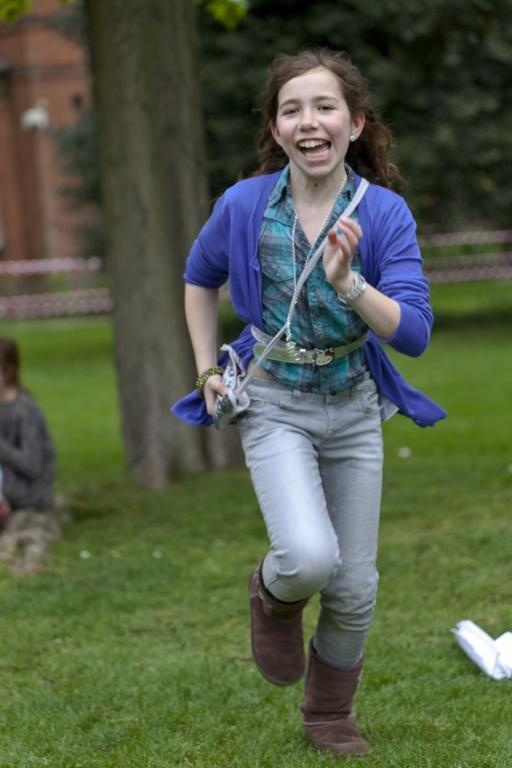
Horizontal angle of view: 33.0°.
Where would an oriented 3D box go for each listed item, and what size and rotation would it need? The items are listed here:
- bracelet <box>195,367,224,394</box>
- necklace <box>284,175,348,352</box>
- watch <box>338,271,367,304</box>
[{"bbox_3d":[-0.134,-0.004,2.244,0.066,0.066,0.026,1,36,-49],"label":"bracelet"},{"bbox_3d":[0.127,-0.309,1.995,0.144,0.357,0.043,16,-16,-2],"label":"necklace"},{"bbox_3d":[0.197,-0.196,1.789,0.055,0.066,0.042,4,7,20],"label":"watch"}]
